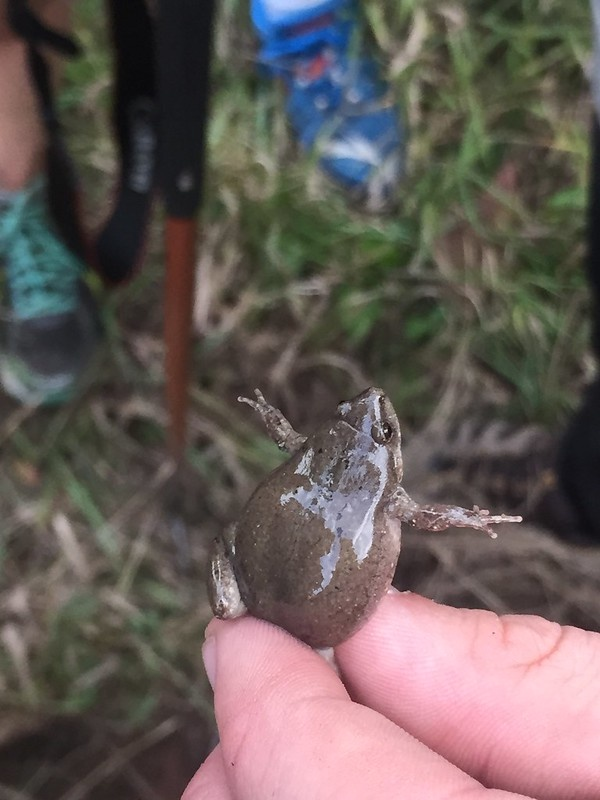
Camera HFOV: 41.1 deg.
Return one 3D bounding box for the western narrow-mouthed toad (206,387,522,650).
[{"bbox_3d":[0.064,0.121,0.830,0.324,0.082,0.228,21,89,17],"label":"western narrow-mouthed toad"}]
